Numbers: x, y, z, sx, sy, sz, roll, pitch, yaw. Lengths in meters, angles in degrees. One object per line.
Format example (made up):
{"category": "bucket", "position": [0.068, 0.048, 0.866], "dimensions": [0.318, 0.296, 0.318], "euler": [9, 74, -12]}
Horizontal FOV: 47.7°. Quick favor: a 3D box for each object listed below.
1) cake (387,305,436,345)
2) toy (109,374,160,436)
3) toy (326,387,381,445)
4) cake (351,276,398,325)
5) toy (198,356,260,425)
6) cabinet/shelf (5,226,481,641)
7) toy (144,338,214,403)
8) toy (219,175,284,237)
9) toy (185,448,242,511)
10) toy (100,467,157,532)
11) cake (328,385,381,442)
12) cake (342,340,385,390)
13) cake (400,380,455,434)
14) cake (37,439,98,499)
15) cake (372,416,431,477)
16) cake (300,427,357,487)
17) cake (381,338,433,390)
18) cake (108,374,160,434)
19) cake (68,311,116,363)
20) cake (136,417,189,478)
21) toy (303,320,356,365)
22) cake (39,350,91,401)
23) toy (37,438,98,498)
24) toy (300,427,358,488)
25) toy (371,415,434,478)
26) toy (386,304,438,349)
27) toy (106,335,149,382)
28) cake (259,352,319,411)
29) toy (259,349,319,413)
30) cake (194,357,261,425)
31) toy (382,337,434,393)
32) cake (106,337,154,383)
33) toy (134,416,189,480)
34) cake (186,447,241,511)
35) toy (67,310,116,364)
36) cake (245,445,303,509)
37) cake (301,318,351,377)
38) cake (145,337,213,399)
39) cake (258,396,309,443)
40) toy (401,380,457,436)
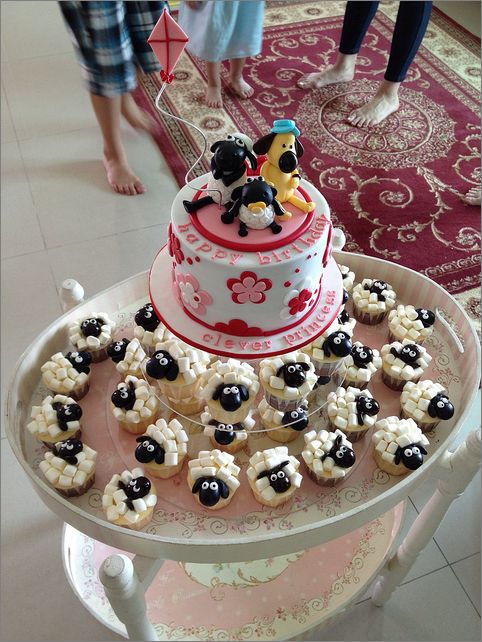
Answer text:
{"category": "cake", "position": [0.391, 0.011, 1.273], "dimensions": [0.093, 0.071, 0.094], "euler": [-7, 50, -6]}
{"category": "toy", "position": [-0.199, 0.159, 1.045], "dimensions": [0.098, 0.087, 0.103], "euler": [-3, 54, -9]}
{"category": "toy", "position": [0.219, 0.187, 1.108], "dimensions": [0.102, 0.086, 0.103], "euler": [7, 49, -5]}
{"category": "cake", "position": [0.319, -0.048, 1.345], "dimensions": [0.107, 0.095, 0.105], "euler": [0, 55, 0]}
{"category": "toy", "position": [-0.022, 0.124, 1.027], "dimensions": [0.107, 0.099, 0.115], "euler": [3, 56, -4]}
{"category": "cabinet/shelf", "position": [0.180, 0.359, 1.589], "dimensions": [1.211, 1.131, 0.757], "euler": [-24, 53, -17]}
{"category": "toy", "position": [-0.128, 0.080, 1.084], "dimensions": [0.117, 0.096, 0.114], "euler": [-16, 57, -22]}
{"category": "toy", "position": [0.020, -0.179, 0.817], "dimensions": [0.099, 0.073, 0.083], "euler": [-1, 50, -3]}
{"category": "toy", "position": [-0.049, 0.283, 0.978], "dimensions": [0.094, 0.074, 0.097], "euler": [9, 63, -5]}
{"category": "toy", "position": [-0.192, 0.306, 0.923], "dimensions": [0.093, 0.067, 0.093], "euler": [16, 62, 5]}
{"category": "cake", "position": [0.218, 0.181, 1.114], "dimensions": [0.102, 0.087, 0.102], "euler": [7, 51, -6]}
{"category": "cake", "position": [0.251, 0.094, 1.178], "dimensions": [0.089, 0.078, 0.090], "euler": [23, 47, -8]}
{"category": "cake", "position": [0.364, 0.164, 1.060], "dimensions": [0.099, 0.075, 0.102], "euler": [16, 57, 5]}
{"category": "cake", "position": [-0.306, 0.261, 0.967], "dimensions": [0.108, 0.093, 0.098], "euler": [3, 57, -2]}
{"category": "cake", "position": [0.297, 0.238, 1.043], "dimensions": [0.114, 0.079, 0.100], "euler": [9, 64, -7]}
{"category": "cake", "position": [0.159, 0.244, 0.996], "dimensions": [0.099, 0.072, 0.098], "euler": [4, 50, -3]}
{"category": "cake", "position": [0.345, 0.087, 1.189], "dimensions": [0.106, 0.095, 0.106], "euler": [2, 55, -4]}
{"category": "cake", "position": [-0.199, 0.159, 1.046], "dimensions": [0.098, 0.087, 0.103], "euler": [-3, 54, -8]}
{"category": "cake", "position": [-0.323, 0.031, 1.228], "dimensions": [0.107, 0.088, 0.103], "euler": [5, 50, -6]}
{"category": "cake", "position": [-0.137, 0.229, 1.030], "dimensions": [0.103, 0.080, 0.107], "euler": [22, 56, 1]}
{"category": "toy", "position": [0.181, 0.037, 1.104], "dimensions": [0.091, 0.031, 0.090], "euler": [1, 54, -5]}
{"category": "cake", "position": [-0.365, 0.110, 1.172], "dimensions": [0.098, 0.072, 0.103], "euler": [-33, 60, -25]}
{"category": "toy", "position": [-0.303, 0.260, 0.968], "dimensions": [0.108, 0.093, 0.098], "euler": [3, 57, -2]}
{"category": "toy", "position": [0.157, 0.245, 0.983], "dimensions": [0.100, 0.072, 0.100], "euler": [4, 50, -3]}
{"category": "toy", "position": [0.292, 0.229, 0.997], "dimensions": [0.114, 0.078, 0.101], "euler": [10, 63, -7]}
{"category": "toy", "position": [0.382, 0.008, 1.222], "dimensions": [0.095, 0.071, 0.094], "euler": [-2, 53, -1]}
{"category": "toy", "position": [-0.229, 0.076, 1.131], "dimensions": [0.074, 0.069, 0.077], "euler": [-11, 63, -5]}
{"category": "cake", "position": [0.081, 0.105, 1.043], "dimensions": [0.108, 0.093, 0.105], "euler": [2, 54, -9]}
{"category": "toy", "position": [0.086, 0.109, 1.042], "dimensions": [0.107, 0.093, 0.105], "euler": [2, 54, -9]}
{"category": "cake", "position": [-0.023, 0.120, 0.976], "dimensions": [0.108, 0.100, 0.116], "euler": [3, 56, -4]}
{"category": "toy", "position": [0.344, 0.094, 1.191], "dimensions": [0.107, 0.096, 0.107], "euler": [2, 55, -4]}
{"category": "cake", "position": [-0.233, 0.080, 1.154], "dimensions": [0.075, 0.069, 0.077], "euler": [-14, 63, -6]}
{"category": "toy", "position": [-0.140, 0.231, 1.045], "dimensions": [0.103, 0.081, 0.108], "euler": [22, 55, 0]}
{"category": "cake", "position": [-0.050, 0.283, 0.977], "dimensions": [0.094, 0.074, 0.097], "euler": [9, 63, -5]}
{"category": "toy", "position": [-0.328, 0.031, 1.235], "dimensions": [0.108, 0.089, 0.104], "euler": [5, 49, -6]}
{"category": "cake", "position": [0.062, 0.276, 0.976], "dimensions": [0.091, 0.089, 0.093], "euler": [-16, 53, -15]}
{"category": "cake", "position": [0.167, 0.057, 1.078], "dimensions": [0.099, 0.077, 0.106], "euler": [2, 58, 1]}
{"category": "cake", "position": [-0.128, 0.086, 1.069], "dimensions": [0.118, 0.094, 0.112], "euler": [-12, 54, -19]}
{"category": "cake", "position": [0.078, 0.188, 1.048], "dimensions": [0.094, 0.063, 0.078], "euler": [-5, 66, -7]}
{"category": "toy", "position": [0.364, 0.162, 1.060], "dimensions": [0.099, 0.076, 0.101], "euler": [16, 57, 4]}
